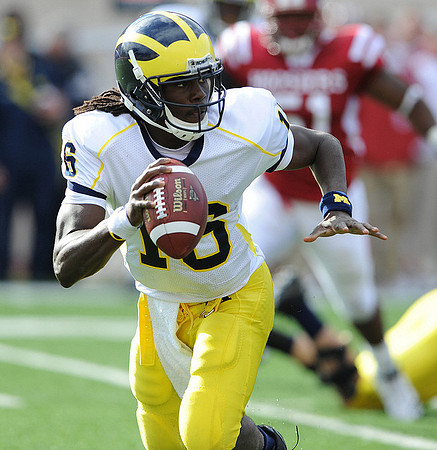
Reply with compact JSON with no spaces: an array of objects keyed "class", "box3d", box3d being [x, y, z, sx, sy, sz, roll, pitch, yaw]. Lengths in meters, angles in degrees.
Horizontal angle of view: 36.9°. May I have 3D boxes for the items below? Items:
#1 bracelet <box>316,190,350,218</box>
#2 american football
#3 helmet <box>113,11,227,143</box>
[{"class":"bracelet","box3d":[0.343,-0.063,1.949,0.077,0.063,0.084,4,41,2]},{"class":"american football","box3d":[-0.105,-0.029,1.616,0.151,0.141,0.227,-3,62,2]},{"class":"helmet","box3d":[-0.148,-0.418,1.813,0.376,0.349,0.304,17,25,39]}]
